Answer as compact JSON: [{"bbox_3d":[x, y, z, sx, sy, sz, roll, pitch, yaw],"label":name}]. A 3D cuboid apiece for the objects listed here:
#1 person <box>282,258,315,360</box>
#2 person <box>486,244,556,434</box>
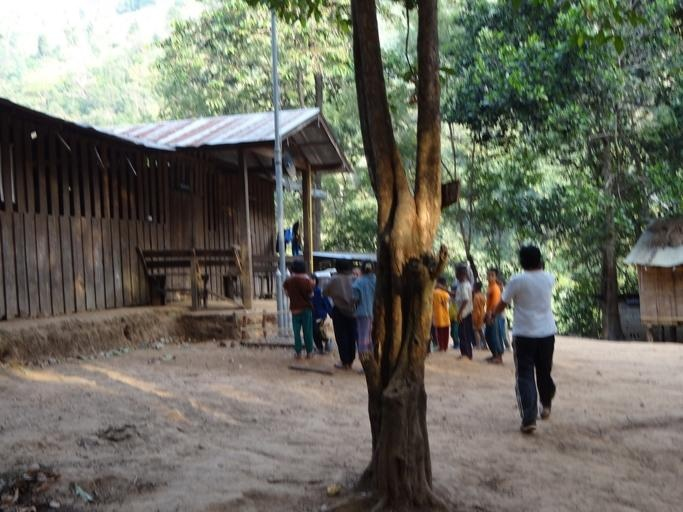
[{"bbox_3d":[-0.913,1.145,17.068,0.620,2.095,0.650,-1,-2,-7],"label":"person"},{"bbox_3d":[3.130,1.381,13.340,0.905,3.115,0.477,0,-2,-11],"label":"person"}]
